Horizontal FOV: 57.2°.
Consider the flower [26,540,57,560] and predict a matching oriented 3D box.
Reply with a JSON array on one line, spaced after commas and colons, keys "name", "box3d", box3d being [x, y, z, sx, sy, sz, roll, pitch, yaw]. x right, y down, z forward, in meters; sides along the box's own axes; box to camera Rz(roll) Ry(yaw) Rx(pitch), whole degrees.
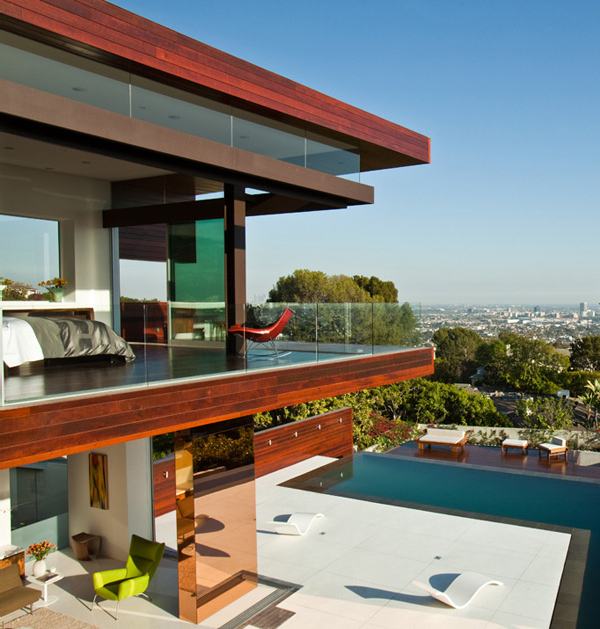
[{"name": "flower", "box3d": [-3.645, 3.354, 7.716, 0.249, 0.302, 0.437, 1, -3, -13]}]

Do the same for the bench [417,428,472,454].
[{"name": "bench", "box3d": [4.545, 4.084, 17.564, 1.430, 0.540, 1.499, -1, -3, 18]}]

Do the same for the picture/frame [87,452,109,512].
[{"name": "picture/frame", "box3d": [-3.269, 2.701, 8.915, 0.483, 0.933, 0.147, -3, -4, 38]}]

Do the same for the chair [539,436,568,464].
[{"name": "chair", "box3d": [7.546, 4.059, 16.493, 0.769, 0.699, 0.785, 0, -5, -10]}]

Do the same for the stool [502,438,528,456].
[{"name": "stool", "box3d": [6.713, 4.184, 17.185, 0.795, 0.359, 0.562, 3, 11, 26]}]

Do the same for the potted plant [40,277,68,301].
[{"name": "potted plant", "box3d": [-4.873, -0.517, 10.922, 0.545, 0.489, 0.449, 1, 4, 4]}]

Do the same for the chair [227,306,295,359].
[{"name": "chair", "box3d": [-0.585, 0.248, 8.507, 0.764, 0.487, 0.660, 2, -2, -3]}]

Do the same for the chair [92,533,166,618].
[{"name": "chair", "box3d": [-2.318, 3.506, 7.449, 0.658, 0.715, 0.769, 0, -7, 29]}]
